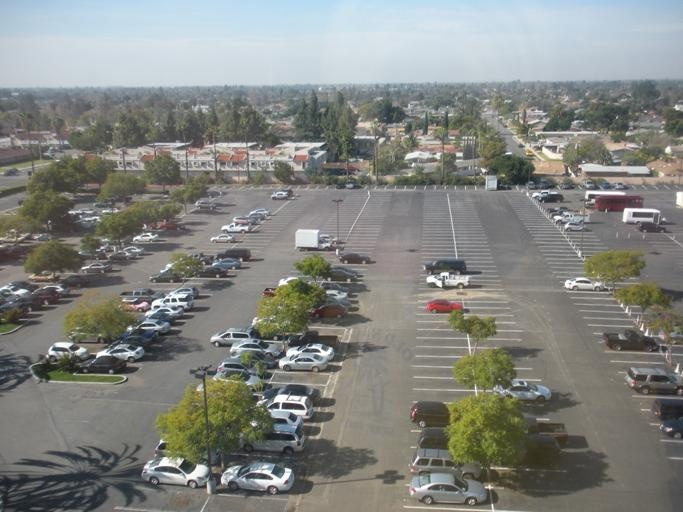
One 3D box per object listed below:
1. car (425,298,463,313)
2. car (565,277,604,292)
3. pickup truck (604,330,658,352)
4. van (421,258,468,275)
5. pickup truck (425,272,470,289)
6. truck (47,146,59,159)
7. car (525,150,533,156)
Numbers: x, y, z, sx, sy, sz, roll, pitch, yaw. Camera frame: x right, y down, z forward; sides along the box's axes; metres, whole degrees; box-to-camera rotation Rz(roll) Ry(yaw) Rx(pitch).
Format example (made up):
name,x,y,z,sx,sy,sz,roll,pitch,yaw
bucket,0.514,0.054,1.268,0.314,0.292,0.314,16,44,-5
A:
name,x,y,z,sx,sy,sz,roll,pitch,yaw
car,9.242,4.659,64.924,2.825,0.998,1.349,-2,11,7
car,23.902,2.894,69.785,3.193,1.083,1.519,-1,10,7
pickup truck,23.889,7.062,58.637,3.232,1.170,1.922,-2,14,7
van,10.957,1.182,74.857,3.807,1.310,1.891,3,7,6
pickup truck,10.834,2.507,70.940,3.007,0.992,2.018,3,15,1
truck,-70.533,-25.248,171.562,2.452,1.328,26.015,-9,14,-20
car,45.365,-24.731,170.762,2.061,0.880,2.811,4,11,31
